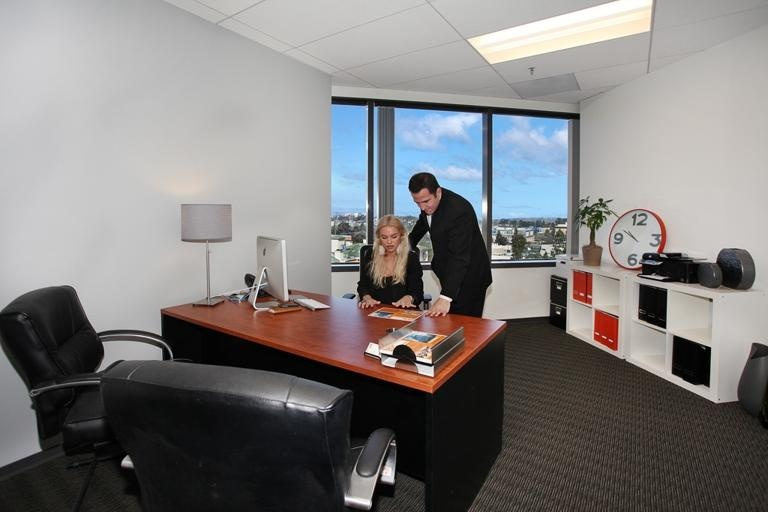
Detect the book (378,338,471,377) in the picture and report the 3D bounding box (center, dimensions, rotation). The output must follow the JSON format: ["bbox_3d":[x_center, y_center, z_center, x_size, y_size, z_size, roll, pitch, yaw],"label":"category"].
[{"bbox_3d":[0.238,0.637,2.999,0.238,0.102,0.332,1,3,33],"label":"book"}]

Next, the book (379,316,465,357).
[{"bbox_3d":[0.215,0.548,3.113,0.273,0.074,0.288,8,15,38],"label":"book"}]

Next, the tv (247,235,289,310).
[{"bbox_3d":[-0.996,0.152,4.061,0.314,0.534,0.579,-4,9,-30],"label":"tv"}]

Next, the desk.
[{"bbox_3d":[-0.261,0.906,2.957,1.321,0.637,0.677,7,14,33],"label":"desk"}]
